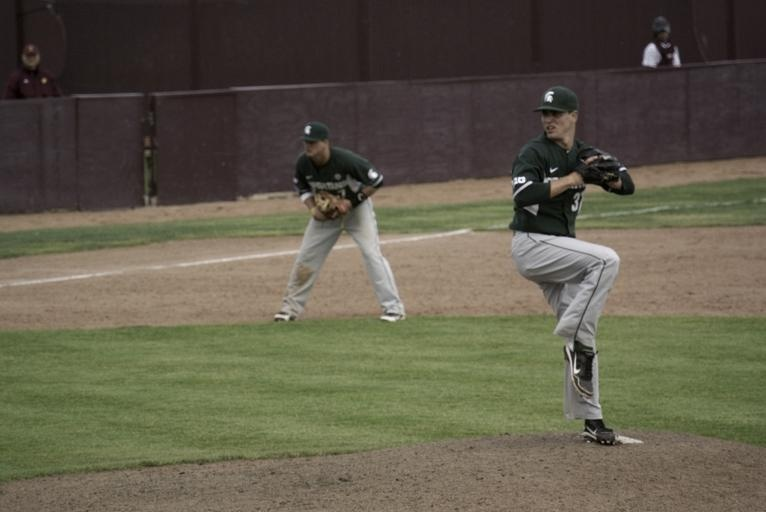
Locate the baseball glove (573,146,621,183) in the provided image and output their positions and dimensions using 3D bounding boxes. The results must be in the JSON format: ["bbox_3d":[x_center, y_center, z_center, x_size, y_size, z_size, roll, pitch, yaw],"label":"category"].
[{"bbox_3d":[2.370,-0.937,14.411,0.556,0.180,0.456,-3,11,13],"label":"baseball glove"}]

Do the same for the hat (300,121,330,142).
[{"bbox_3d":[-0.854,-1.576,17.093,0.268,0.193,0.356,13,22,15],"label":"hat"}]

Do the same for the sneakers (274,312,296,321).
[{"bbox_3d":[-1.295,0.760,17.428,0.225,0.099,0.130,-1,3,-30],"label":"sneakers"}]

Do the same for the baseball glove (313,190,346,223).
[{"bbox_3d":[-0.708,-0.655,17.256,0.302,0.392,0.163,-45,7,-1],"label":"baseball glove"}]

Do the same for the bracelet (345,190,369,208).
[{"bbox_3d":[-0.356,-0.752,17.327,0.202,0.162,0.244,-3,5,11],"label":"bracelet"}]

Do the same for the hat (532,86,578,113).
[{"bbox_3d":[1.859,-1.716,14.475,0.434,0.207,0.293,-1,9,-14],"label":"hat"}]

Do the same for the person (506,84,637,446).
[{"bbox_3d":[1.975,0.036,14.378,1.200,3.718,1.006,-2,6,4],"label":"person"}]

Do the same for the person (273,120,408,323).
[{"bbox_3d":[-0.612,-0.456,17.402,1.588,2.612,0.729,-2,6,-1],"label":"person"}]

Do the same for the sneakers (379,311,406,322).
[{"bbox_3d":[0.106,0.777,17.455,0.216,0.082,0.141,0,2,-33],"label":"sneakers"}]

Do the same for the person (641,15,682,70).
[{"bbox_3d":[5.842,-4.516,28.064,0.740,1.041,0.802,-2,6,4],"label":"person"}]
